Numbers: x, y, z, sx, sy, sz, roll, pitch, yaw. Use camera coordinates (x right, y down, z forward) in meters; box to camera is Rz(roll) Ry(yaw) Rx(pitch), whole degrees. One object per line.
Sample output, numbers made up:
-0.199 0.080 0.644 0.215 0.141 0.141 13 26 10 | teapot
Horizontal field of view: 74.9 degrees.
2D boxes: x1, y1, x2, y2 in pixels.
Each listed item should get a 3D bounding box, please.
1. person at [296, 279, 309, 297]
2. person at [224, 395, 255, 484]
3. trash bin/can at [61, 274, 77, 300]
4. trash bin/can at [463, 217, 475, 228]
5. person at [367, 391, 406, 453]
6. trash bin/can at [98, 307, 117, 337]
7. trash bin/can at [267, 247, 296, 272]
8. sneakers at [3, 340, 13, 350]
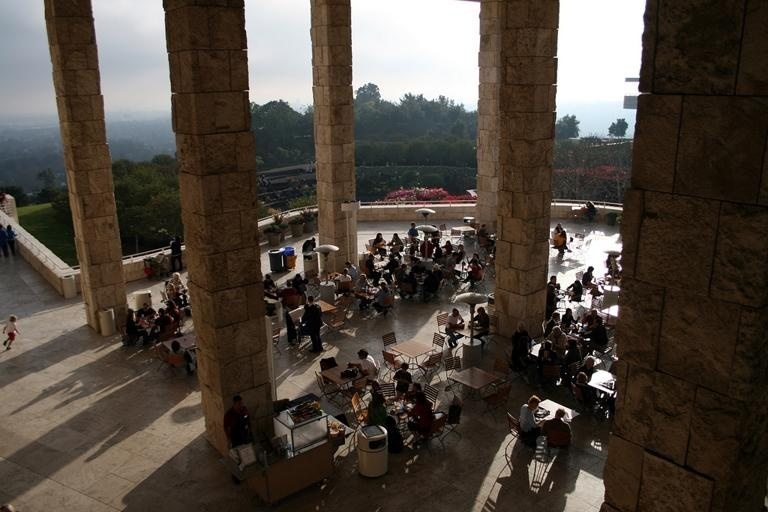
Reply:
-3.029 1.245 18.951 0.237 0.664 0.475 -4 0 -23 | person
-3.069 3.816 10.600 0.598 1.606 0.434 -4 8 -35 | person
-12.783 1.269 20.434 0.521 0.932 0.366 -11 18 -30 | trash bin/can
4.985 -1.995 29.142 0.633 0.506 0.902 1 9 -11 | trash bin/can
0.023 3.744 11.472 0.873 1.370 0.588 -5 10 -24 | person
-9.513 2.282 17.253 0.480 0.917 0.406 -8 16 -20 | trash bin/can
-4.699 0.167 23.399 1.244 0.805 1.051 -14 22 -36 | trash bin/can
-12.294 2.941 16.447 0.094 0.264 0.375 15 23 4 | sneakers
